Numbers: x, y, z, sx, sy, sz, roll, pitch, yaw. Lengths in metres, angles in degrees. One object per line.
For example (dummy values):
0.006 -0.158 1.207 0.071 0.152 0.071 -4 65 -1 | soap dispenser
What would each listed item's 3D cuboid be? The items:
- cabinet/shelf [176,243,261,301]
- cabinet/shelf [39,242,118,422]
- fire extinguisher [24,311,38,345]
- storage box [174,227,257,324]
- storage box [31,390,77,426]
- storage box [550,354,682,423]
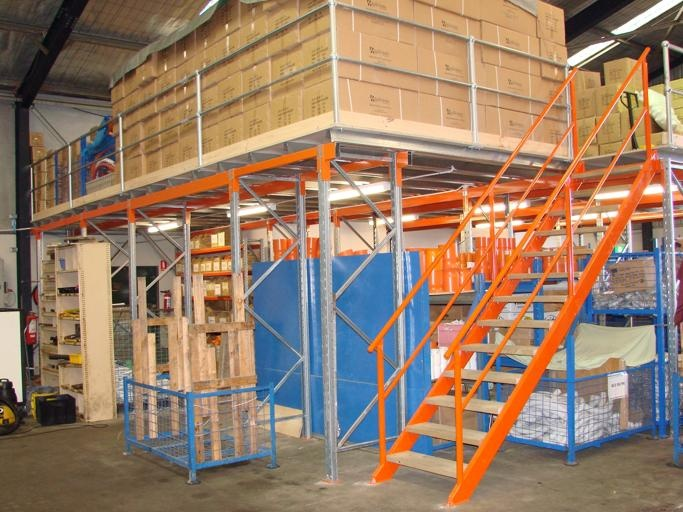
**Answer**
-2.284 0.300 13.375 1.540 0.737 0.516 -5 -6 43 | cabinet/shelf
-4.785 1.439 12.827 0.929 3.327 3.490 2 -5 -38 | cabinet/shelf
-7.309 1.729 16.572 0.265 0.645 0.416 -7 12 -15 | fire extinguisher
-2.377 0.383 13.390 2.469 1.971 0.817 -5 -6 44 | storage box
-4.983 2.625 12.266 0.606 0.444 0.600 -1 -3 44 | storage box
3.897 1.772 9.822 2.241 0.800 1.188 -2 -1 38 | storage box
